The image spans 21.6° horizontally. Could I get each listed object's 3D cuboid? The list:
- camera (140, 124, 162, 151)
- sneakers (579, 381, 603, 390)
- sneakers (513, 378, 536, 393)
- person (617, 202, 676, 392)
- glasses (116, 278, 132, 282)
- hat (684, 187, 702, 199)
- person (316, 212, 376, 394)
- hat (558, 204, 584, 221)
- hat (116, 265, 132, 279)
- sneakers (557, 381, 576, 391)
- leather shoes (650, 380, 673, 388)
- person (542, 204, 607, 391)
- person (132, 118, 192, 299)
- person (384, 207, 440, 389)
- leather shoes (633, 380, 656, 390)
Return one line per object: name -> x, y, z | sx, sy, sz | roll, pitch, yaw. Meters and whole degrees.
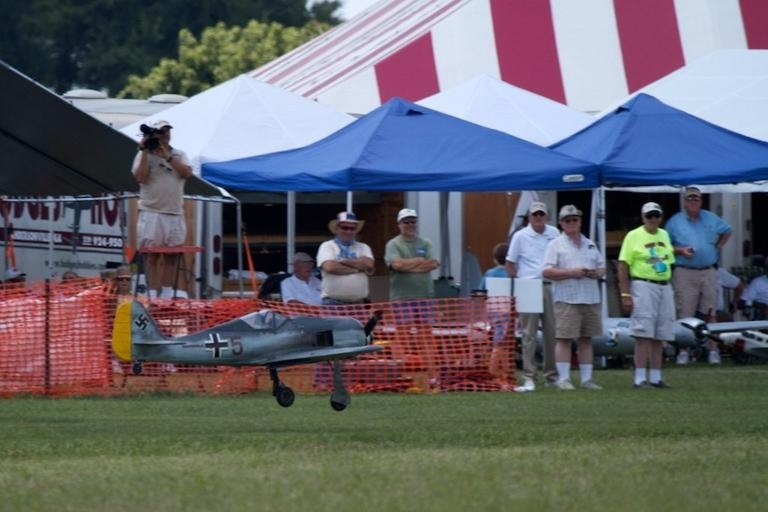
camera -> -3.492, -1.820, 30.619 | 0.319, 0.398, 0.217 | 0, -6, -16
sneakers -> 3.207, 1.922, 30.314 | 0.254, 0.095, 0.140 | -3, -2, 37
sneakers -> 2.190, 1.927, 30.179 | 0.405, 0.150, 0.146 | 6, -7, -44
person -> 4.068, 0.570, 30.438 | 0.814, 2.781, 0.359 | -2, -6, 6
glasses -> -3.886, 0.333, 30.543 | 0.064, 0.072, 0.216 | -6, -7, 44
hat -> 4.947, -1.004, 31.662 | 0.242, 0.196, 0.245 | -1, -5, 3
person -> -0.516, 0.628, 30.619 | 0.876, 2.640, 1.292 | -1, -6, 0
hat -> 3.004, -0.692, 31.635 | 0.384, 0.167, 0.497 | -2, -5, 2
hat -> -3.897, 0.224, 30.655 | 0.223, 0.181, 0.203 | 1, -6, -3
sneakers -> 2.819, 1.916, 30.298 | 0.274, 0.140, 0.270 | -1, -5, 3
leather shoes -> 4.285, 1.907, 30.412 | 0.324, 0.109, 0.110 | -1, 5, 0
person -> 2.942, 0.614, 30.342 | 0.925, 2.751, 0.598 | 2, -7, -29
person -> -3.336, -0.729, 30.953 | 0.907, 2.651, 1.150 | -1, -6, -2
person -> 0.505, 0.625, 30.516 | 0.792, 2.749, 0.770 | -1, -6, -1
leather shoes -> 4.015, 1.930, 30.323 | 0.322, 0.112, 0.112 | -4, -2, 21
